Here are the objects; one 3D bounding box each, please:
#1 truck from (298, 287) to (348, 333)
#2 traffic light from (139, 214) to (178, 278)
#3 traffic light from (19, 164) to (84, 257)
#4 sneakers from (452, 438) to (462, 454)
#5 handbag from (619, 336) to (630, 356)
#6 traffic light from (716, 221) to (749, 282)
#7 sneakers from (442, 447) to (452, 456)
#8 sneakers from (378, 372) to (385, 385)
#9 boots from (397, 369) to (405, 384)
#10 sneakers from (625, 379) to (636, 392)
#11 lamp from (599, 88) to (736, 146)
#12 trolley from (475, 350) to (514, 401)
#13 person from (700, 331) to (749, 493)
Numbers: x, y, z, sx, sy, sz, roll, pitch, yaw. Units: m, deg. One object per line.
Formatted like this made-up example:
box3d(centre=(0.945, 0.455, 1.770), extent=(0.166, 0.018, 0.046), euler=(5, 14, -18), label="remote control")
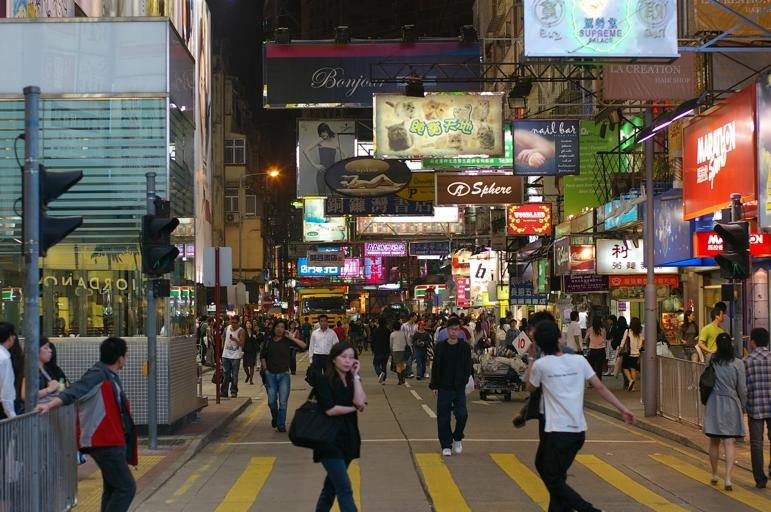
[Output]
box3d(centre=(-3.844, 2.935, 57.776), extent=(2.172, 2.280, 4.318), euler=(-1, -8, -4), label="truck")
box3d(centre=(-4.442, -0.200, 18.402), extent=(0.679, 1.189, 0.546), euler=(-1, -3, -12), label="traffic light")
box3d(centre=(-4.689, -0.662, 13.474), extent=(0.548, 1.300, 0.418), euler=(-1, -3, -16), label="traffic light")
box3d(centre=(1.411, 3.731, 18.443), extent=(0.168, 0.261, 0.428), euler=(-2, -3, 3), label="sneakers")
box3d(centre=(6.919, 2.615, 27.156), extent=(0.207, 0.572, 0.593), euler=(2, 0, -2), label="handbag")
box3d(centre=(6.448, -0.109, 17.423), extent=(0.574, 1.061, 0.473), euler=(-2, -3, 19), label="traffic light")
box3d(centre=(1.193, 3.777, 18.168), extent=(0.177, 0.150, 0.224), euler=(-2, -3, 3), label="sneakers")
box3d(centre=(-0.122, 4.167, 32.043), extent=(0.144, 0.451, 0.187), euler=(16, 7, 1), label="sneakers")
box3d(centre=(0.541, 4.178, 32.004), extent=(0.209, 0.452, 0.449), euler=(0, -14, 1), label="boots")
box3d(centre=(7.206, 3.815, 27.631), extent=(0.130, 0.358, 0.244), euler=(7, 6, -10), label="sneakers")
box3d(centre=(7.520, -3.688, 24.743), extent=(1.347, 0.665, 3.067), euler=(-8, -9, -17), label="lamp")
box3d(centre=(3.078, 3.436, 26.834), extent=(0.854, 0.886, 1.486), euler=(-24, -3, 10), label="trolley")
box3d(centre=(5.861, 2.673, 16.244), extent=(0.766, 2.638, 0.717), euler=(-2, -3, 21), label="person")
